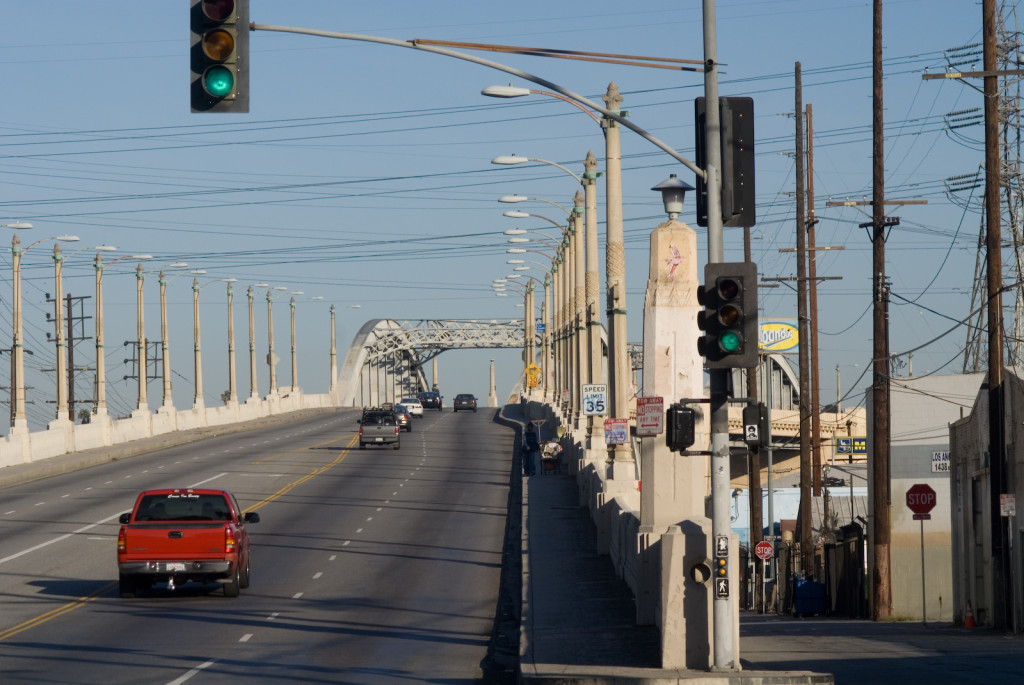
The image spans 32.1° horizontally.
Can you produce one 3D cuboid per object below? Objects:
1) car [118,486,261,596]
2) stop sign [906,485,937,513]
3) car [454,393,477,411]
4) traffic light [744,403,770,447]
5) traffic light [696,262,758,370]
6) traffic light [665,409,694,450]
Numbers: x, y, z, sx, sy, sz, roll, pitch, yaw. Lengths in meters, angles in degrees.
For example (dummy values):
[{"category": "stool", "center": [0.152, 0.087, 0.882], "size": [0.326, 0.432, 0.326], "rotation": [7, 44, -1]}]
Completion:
[{"category": "car", "center": [-8.610, 5.283, 46.876], "size": [3.283, 2.845, 2.046], "rotation": [1, -5, -11]}, {"category": "stop sign", "center": [11.771, 4.523, 51.240], "size": [0.732, 0.835, 1.134], "rotation": [-1, -5, 9]}, {"category": "car", "center": [-3.740, 4.952, 145.188], "size": [1.726, 1.389, 1.765], "rotation": [-1, -5, 7]}, {"category": "traffic light", "center": [5.024, 1.696, 36.733], "size": [0.459, 0.913, 0.877], "rotation": [-1, -5, 7]}, {"category": "traffic light", "center": [4.420, -0.571, 36.421], "size": [1.188, 2.171, 0.502], "rotation": [-1, -5, 6]}, {"category": "traffic light", "center": [3.476, 1.757, 36.717], "size": [0.535, 0.962, 0.500], "rotation": [-1, -5, 2]}]
